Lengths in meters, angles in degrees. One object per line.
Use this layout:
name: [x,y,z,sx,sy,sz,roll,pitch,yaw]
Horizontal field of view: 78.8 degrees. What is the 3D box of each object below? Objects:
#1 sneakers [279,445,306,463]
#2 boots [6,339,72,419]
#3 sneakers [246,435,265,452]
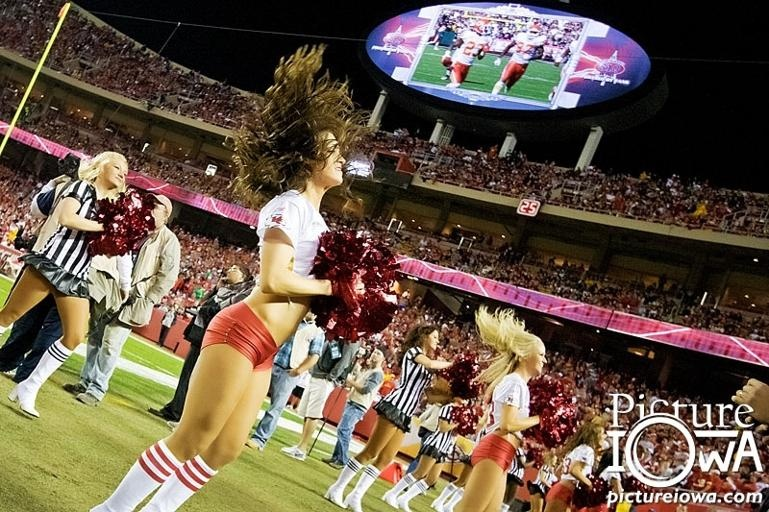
sneakers: [-1.347,2.898,6.904,0.393,0.158,0.164,29,-15,-26]
boots: [-2.922,1.004,3.963,0.261,0.681,0.319,28,-14,-29]
sneakers: [-1.725,2.470,6.174,0.193,0.120,0.364,17,-12,8]
